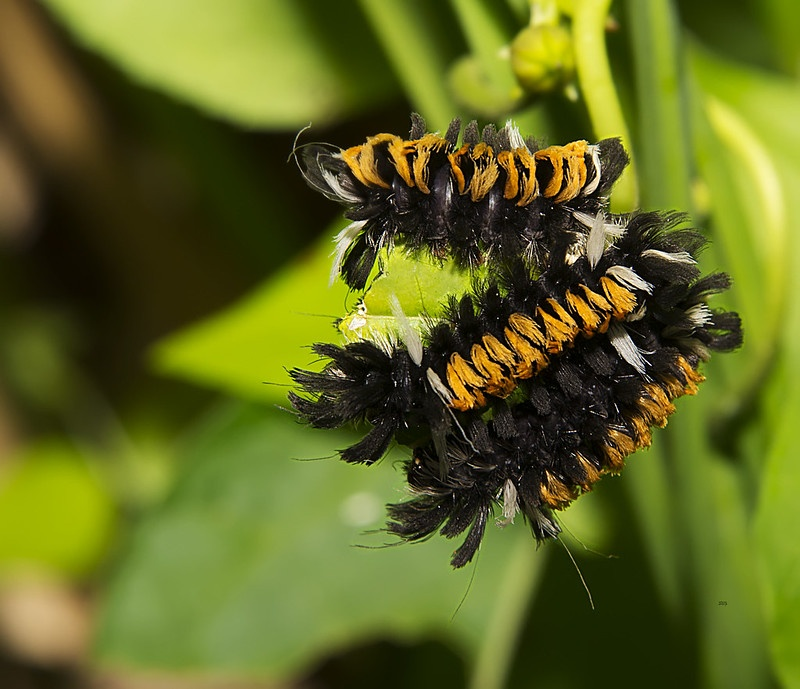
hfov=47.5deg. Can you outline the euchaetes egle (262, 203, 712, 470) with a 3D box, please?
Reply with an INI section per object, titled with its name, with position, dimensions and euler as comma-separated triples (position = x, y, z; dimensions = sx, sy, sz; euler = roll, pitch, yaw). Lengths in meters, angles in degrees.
[euchaetes egle]
position = 0.148, -0.006, 1.208
dimensions = 0.603, 0.176, 0.193
euler = -21, 49, -8
